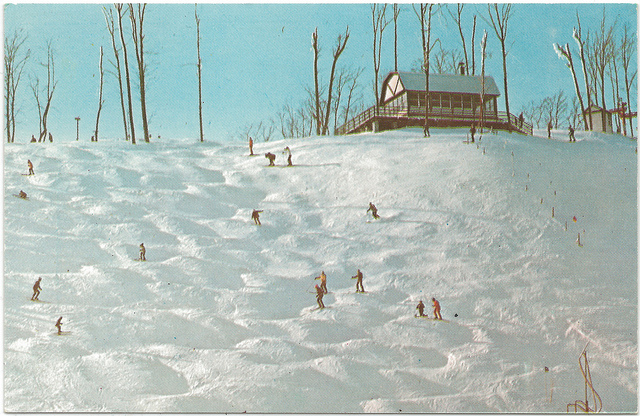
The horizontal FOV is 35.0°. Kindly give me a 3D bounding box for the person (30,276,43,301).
[{"bbox_3d":[-15.285,4.261,54.739,0.607,1.188,0.754,1,1,-15],"label":"person"}]

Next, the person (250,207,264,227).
[{"bbox_3d":[-3.881,0.547,62.032,0.824,0.945,0.272,-9,-14,3],"label":"person"}]

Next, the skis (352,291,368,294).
[{"bbox_3d":[2.268,4.586,56.778,0.726,0.097,0.201,1,1,-6],"label":"skis"}]

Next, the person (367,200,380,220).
[{"bbox_3d":[3.228,0.083,61.490,0.638,0.958,0.313,-15,-6,-4],"label":"person"}]

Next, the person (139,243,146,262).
[{"bbox_3d":[-10.153,2.453,58.155,0.355,0.960,0.787,1,1,-10],"label":"person"}]

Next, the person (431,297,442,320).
[{"bbox_3d":[6.350,5.352,55.021,0.457,1.072,0.625,1,1,5],"label":"person"}]

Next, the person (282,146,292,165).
[{"bbox_3d":[-2.227,-3.548,69.057,0.621,1.187,1.742,1,1,-1],"label":"person"}]

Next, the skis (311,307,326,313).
[{"bbox_3d":[-0.086,5.464,55.739,1.140,0.246,0.195,4,5,22],"label":"skis"}]

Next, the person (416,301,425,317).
[{"bbox_3d":[5.450,5.332,55.241,0.358,0.832,0.677,1,1,-4],"label":"person"}]

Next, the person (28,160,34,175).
[{"bbox_3d":[-18.341,-2.601,64.525,0.356,0.906,1.027,1,1,-15],"label":"person"}]

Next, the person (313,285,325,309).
[{"bbox_3d":[-0.017,4.732,55.979,0.494,1.240,1.042,1,1,0],"label":"person"}]

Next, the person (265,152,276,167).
[{"bbox_3d":[-3.337,-3.243,68.616,0.627,0.846,0.734,1,1,-11],"label":"person"}]

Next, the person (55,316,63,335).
[{"bbox_3d":[-13.595,5.999,52.954,0.241,0.887,0.550,0,1,-35],"label":"person"}]

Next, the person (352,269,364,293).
[{"bbox_3d":[2.116,4.054,57.185,0.761,1.462,0.507,-16,-26,36],"label":"person"}]
